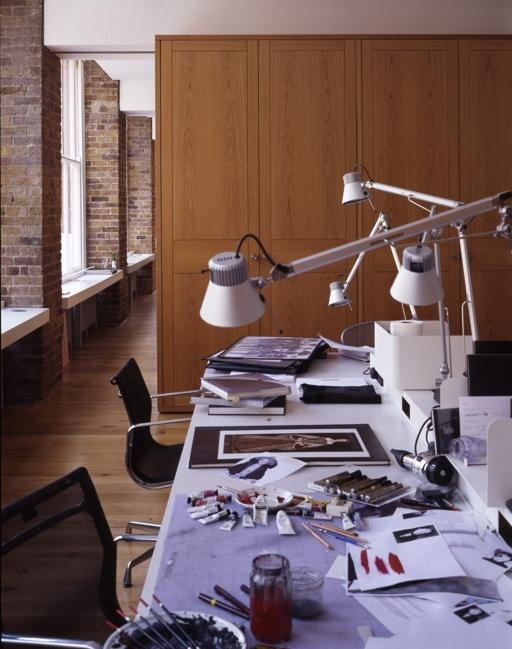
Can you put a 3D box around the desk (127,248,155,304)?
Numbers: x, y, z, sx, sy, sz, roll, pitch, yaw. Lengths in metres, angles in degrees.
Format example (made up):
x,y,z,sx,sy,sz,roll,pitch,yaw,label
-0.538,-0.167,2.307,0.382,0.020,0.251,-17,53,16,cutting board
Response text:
x,y,z,sx,sy,sz,roll,pitch,yaw,label
-1.975,-0.779,9.872,0.480,0.880,3.112,0,7,-11,desk

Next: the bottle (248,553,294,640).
x,y,z,sx,sy,sz,roll,pitch,yaw,label
0.021,0.358,0.745,0.056,0.113,0.049,1,6,-1,bottle

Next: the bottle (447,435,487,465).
x,y,z,sx,sy,sz,roll,pitch,yaw,label
0.467,0.274,1.264,0.060,0.025,0.047,2,22,7,bottle

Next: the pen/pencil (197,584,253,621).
x,y,z,sx,sy,sz,roll,pitch,yaw,label
-0.042,0.401,0.829,0.062,0.009,0.027,14,20,41,pen/pencil

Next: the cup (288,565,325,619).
x,y,z,sx,sy,sz,roll,pitch,yaw,label
0.073,0.385,0.831,0.047,0.046,0.067,2,7,4,cup

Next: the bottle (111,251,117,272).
x,y,z,sx,sy,sz,roll,pitch,yaw,label
-1.779,-0.761,7.179,0.070,0.232,0.223,0,7,-14,bottle
